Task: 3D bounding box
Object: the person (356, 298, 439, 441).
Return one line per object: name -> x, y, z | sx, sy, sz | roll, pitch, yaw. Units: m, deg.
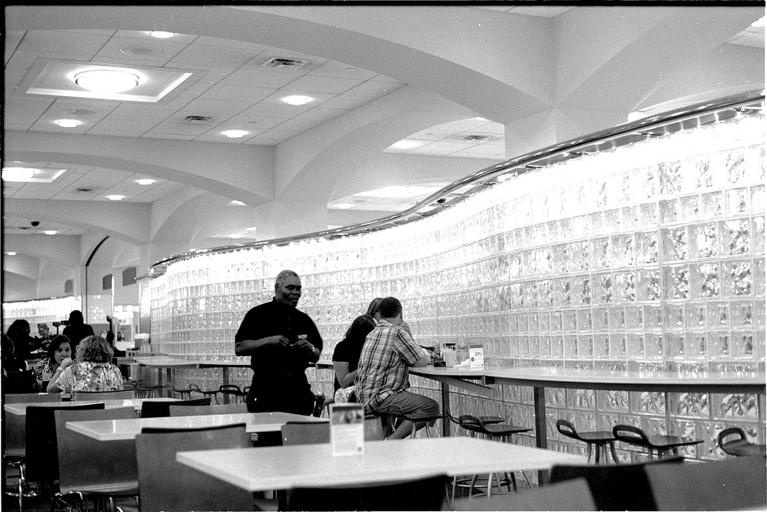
person -> 0.147, 1.175, 5.718 | 0.835, 1.484, 0.777 | -1, -5, 24
